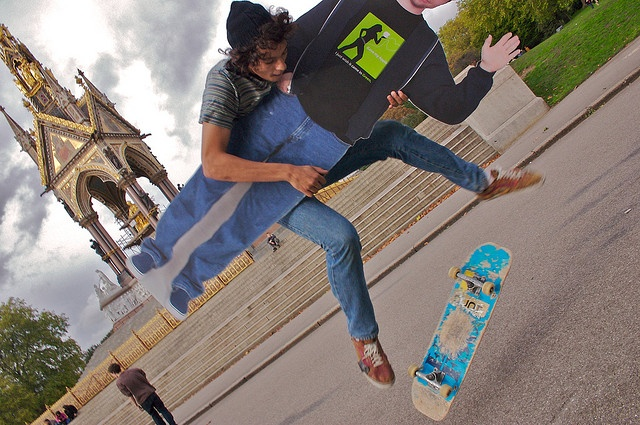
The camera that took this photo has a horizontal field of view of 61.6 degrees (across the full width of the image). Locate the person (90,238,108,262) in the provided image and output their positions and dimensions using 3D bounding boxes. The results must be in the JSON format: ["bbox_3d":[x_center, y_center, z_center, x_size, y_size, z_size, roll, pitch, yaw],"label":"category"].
[{"bbox_3d":[-12.104,2.111,29.508,0.331,1.557,0.800,-40,-2,-38],"label":"person"}]
